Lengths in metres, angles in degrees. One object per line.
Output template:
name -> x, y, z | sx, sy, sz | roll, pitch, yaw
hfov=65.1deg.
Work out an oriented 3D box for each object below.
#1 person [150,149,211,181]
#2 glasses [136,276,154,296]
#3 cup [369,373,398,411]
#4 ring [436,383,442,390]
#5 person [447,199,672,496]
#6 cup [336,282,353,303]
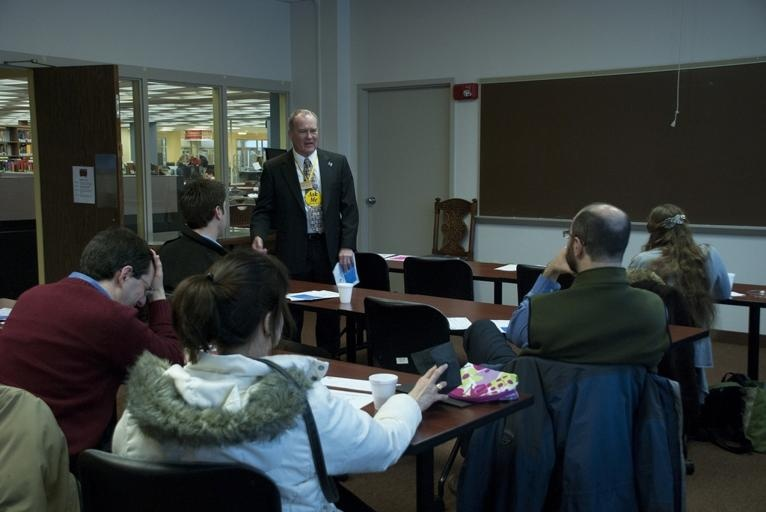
person -> -2.278, -1.023, 6.906 | 0.117, 0.303, 0.824 | 5, 9, 32
glasses -> -1.071, 0.143, 2.732 | 0.073, 0.088, 0.025 | 1, -9, 25
cup -> 0.001, 0.529, 2.365 | 0.116, 0.141, 0.125 | 0, -2, 0
ring -> 0.219, 0.500, 2.300 | 0.016, 0.007, 0.024 | 9, 15, 31
person -> 0.828, 0.143, 2.710 | 0.811, 0.747, 0.596 | 1, 8, 9
cup -> -0.254, 0.243, 4.072 | 0.107, 0.126, 0.114 | -1, -3, 0
